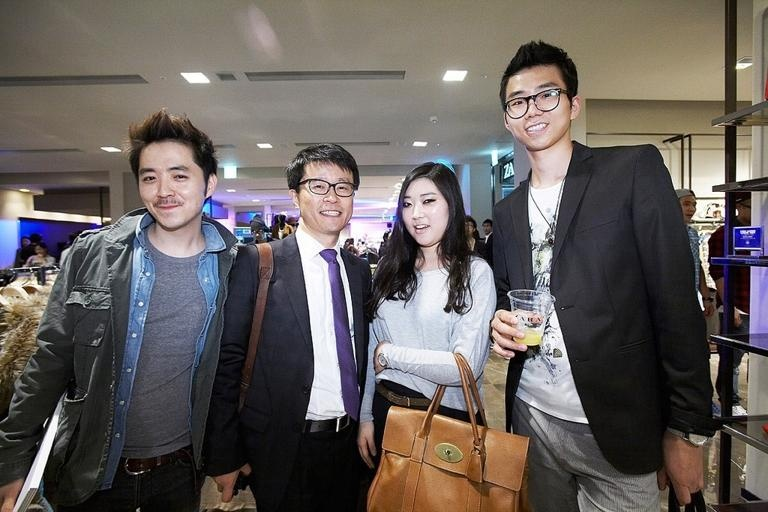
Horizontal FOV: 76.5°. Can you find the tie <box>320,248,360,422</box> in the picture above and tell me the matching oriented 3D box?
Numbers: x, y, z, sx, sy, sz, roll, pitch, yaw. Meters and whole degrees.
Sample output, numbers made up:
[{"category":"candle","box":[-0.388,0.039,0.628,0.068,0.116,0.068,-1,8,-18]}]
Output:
[{"category":"tie","box":[-0.281,0.475,3.040,0.146,1.087,0.114,-6,-9,-9]}]

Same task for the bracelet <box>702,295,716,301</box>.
[{"category":"bracelet","box":[4.053,0.517,6.094,0.176,0.081,0.240,-4,-5,20]}]

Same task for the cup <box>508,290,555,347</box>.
[{"category":"cup","box":[0.789,0.348,2.673,0.289,0.291,0.274,3,-8,0]}]

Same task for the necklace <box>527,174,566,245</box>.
[{"category":"necklace","box":[0.882,-0.246,2.734,0.203,0.350,0.072,-4,-5,28]}]
